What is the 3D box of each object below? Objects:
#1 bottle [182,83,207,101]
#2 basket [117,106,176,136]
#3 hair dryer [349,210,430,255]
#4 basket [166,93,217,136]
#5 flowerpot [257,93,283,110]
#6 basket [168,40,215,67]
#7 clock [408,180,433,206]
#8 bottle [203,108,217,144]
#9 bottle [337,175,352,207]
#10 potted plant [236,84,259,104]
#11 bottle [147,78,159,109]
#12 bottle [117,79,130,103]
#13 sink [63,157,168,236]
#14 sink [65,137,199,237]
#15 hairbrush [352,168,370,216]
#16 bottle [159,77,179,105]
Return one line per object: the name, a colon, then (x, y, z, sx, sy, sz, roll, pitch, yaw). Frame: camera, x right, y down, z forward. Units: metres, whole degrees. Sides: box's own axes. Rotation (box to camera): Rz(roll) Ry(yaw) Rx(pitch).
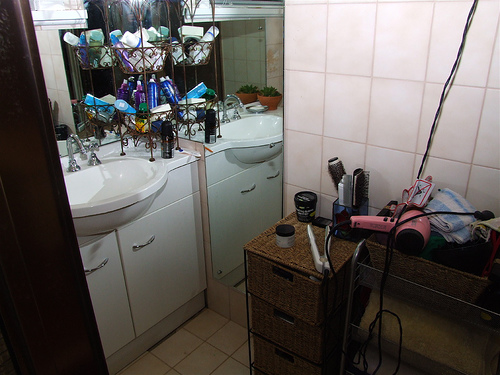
bottle: (-0.297, -0.500, 1.935, 0.121, 0.068, 0.029, -37, 3, 2)
basket: (-0.512, -0.323, 1.837, 0.272, 0.132, 0.209, -8, 24, -14)
hair dryer: (0.511, 0.136, 1.334, 0.245, 0.109, 0.142, 2, 15, 38)
basket: (-0.308, -0.395, 2.013, 0.188, 0.133, 0.201, -2, 28, 0)
flowerpot: (0.101, -0.441, 1.877, 0.081, 0.054, 0.085, -5, 19, -6)
basket: (-0.300, -0.682, 1.876, 0.232, 0.127, 0.119, -7, 24, -13)
clock: (0.645, 0.019, 1.392, 0.022, 0.090, 0.067, 26, -9, -18)
bottle: (-0.217, -0.329, 1.945, 0.075, 0.171, 0.100, -4, 23, -6)
bottle: (0.387, 0.012, 1.492, 0.059, 0.135, 0.028, 5, 23, 16)
potted plant: (-0.013, -0.500, 1.955, 0.083, 0.057, 0.088, -5, 22, 7)
bottle: (-0.497, -0.485, 1.881, 0.055, 0.146, 0.068, -7, 23, -14)
bottle: (-0.645, -0.491, 1.879, 0.033, 0.124, 0.078, 10, 26, 27)
sink: (-0.585, 0.021, 1.686, 0.440, 0.214, 0.415, -14, 27, -27)
sink: (-0.624, -0.019, 1.691, 0.400, 0.246, 0.649, 24, 38, 29)
hairbrush: (0.453, 0.011, 1.517, 0.043, 0.186, 0.134, 12, 26, 29)
bottle: (-0.423, -0.505, 1.917, 0.091, 0.136, 0.035, 13, 27, 32)
